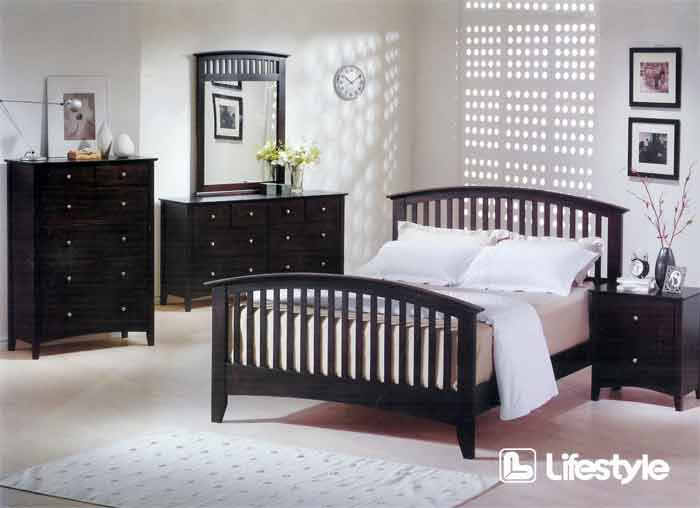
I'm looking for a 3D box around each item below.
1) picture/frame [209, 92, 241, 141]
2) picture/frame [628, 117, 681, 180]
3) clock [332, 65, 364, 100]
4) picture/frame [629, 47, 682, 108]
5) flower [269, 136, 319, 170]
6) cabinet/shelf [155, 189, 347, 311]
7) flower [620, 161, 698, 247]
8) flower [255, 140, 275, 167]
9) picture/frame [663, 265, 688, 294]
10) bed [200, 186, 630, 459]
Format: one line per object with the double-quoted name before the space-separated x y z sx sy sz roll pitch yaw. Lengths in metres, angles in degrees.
"picture/frame" -1.213 -1.325 6.394 0.037 0.548 0.483 3 6 42
"picture/frame" 2.582 -0.899 5.650 0.544 0.595 0.041 6 5 44
"clock" -0.034 -1.805 7.011 0.356 0.374 0.049 -4 8 -30
"picture/frame" 2.574 -1.488 5.604 0.029 0.606 0.548 -6 9 -43
"flower" -0.532 -0.987 6.620 0.352 0.213 0.367 1 9 8
"cabinet/shelf" -0.918 -0.046 5.530 1.123 0.668 0.387 -5 7 -36
"flower" 2.715 -0.419 5.863 0.737 0.901 0.697 0 2 14
"flower" -0.811 -0.987 6.560 0.225 0.258 0.208 3 19 5
"picture/frame" 1.900 0.156 3.933 0.151 0.204 0.021 8 -16 41
"bed" 0.500 0.212 4.378 1.671 1.171 2.288 3 9 35
